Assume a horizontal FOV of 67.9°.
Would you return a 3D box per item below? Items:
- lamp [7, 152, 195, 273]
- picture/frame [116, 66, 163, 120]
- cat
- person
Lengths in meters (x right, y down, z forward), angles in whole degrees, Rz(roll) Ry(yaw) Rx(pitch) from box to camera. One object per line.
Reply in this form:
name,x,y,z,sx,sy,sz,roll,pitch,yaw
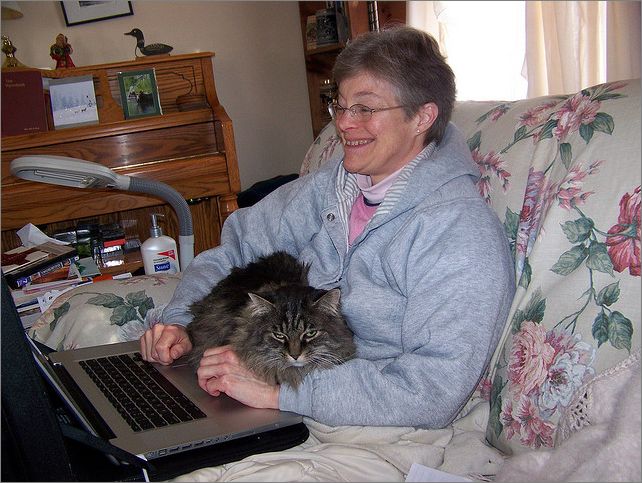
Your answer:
lamp,-1.238,-0.167,2.652,0.796,0.834,0.271,3,48,-26
picture/frame,-1.247,-1.007,3.238,0.356,0.396,0.031,-14,9,-10
cat,-0.195,0.245,1.662,0.388,0.221,0.450,-1,36,-6
person,0.032,-0.092,1.765,1.130,1.207,1.504,-10,22,-31
